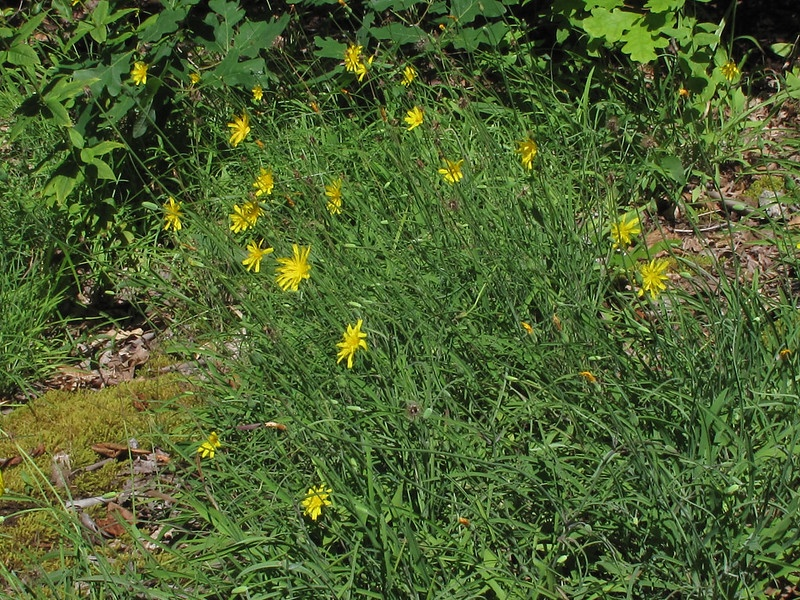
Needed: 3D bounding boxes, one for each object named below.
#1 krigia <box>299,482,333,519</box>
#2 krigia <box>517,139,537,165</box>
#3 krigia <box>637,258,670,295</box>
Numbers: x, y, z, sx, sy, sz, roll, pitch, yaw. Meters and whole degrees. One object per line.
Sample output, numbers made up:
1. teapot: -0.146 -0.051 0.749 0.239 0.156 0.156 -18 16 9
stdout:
1. krigia: -0.291 0.682 2.504 0.110 0.051 0.119 24 96 36
2. krigia: 0.535 -0.625 3.104 0.050 0.097 0.098 -21 49 -35
3. krigia: 0.940 -0.098 2.763 0.112 0.121 0.040 -18 51 16
